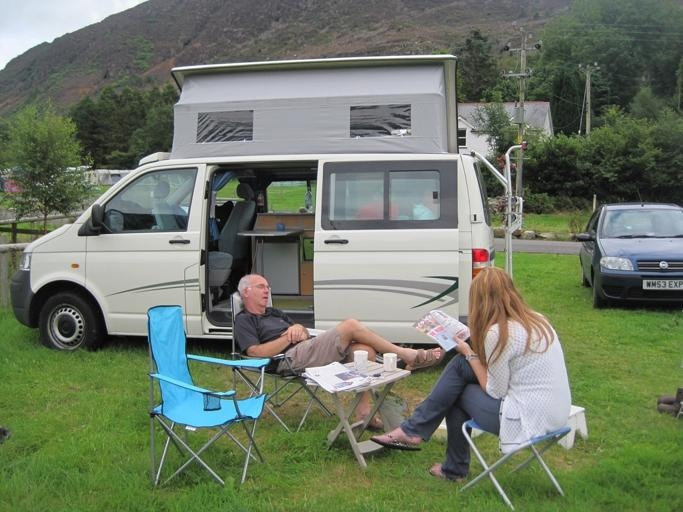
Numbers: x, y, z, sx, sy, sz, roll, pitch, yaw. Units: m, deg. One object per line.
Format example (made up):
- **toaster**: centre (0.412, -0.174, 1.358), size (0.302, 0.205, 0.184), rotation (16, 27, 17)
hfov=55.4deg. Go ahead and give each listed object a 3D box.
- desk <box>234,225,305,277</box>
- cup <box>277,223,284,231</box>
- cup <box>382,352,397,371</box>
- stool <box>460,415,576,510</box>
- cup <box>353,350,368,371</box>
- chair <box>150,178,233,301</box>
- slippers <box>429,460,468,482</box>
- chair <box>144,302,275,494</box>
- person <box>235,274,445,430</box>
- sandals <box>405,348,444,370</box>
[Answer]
- **desk**: centre (-1.026, 0.019, 9.216), size (0.487, 0.475, 0.930), rotation (4, 6, 20)
- **cup**: centre (-0.877, -0.414, 9.191), size (0.094, 0.071, 0.095), rotation (1, 2, 0)
- **cup**: centre (0.436, 0.956, 5.901), size (0.112, 0.113, 0.147), rotation (0, -1, -1)
- **stool**: centre (1.409, 1.643, 5.274), size (0.714, 0.492, 0.736), rotation (1, 1, 33)
- **cup**: centre (0.175, 0.967, 6.018), size (0.126, 0.139, 0.160), rotation (0, -2, -1)
- **chair**: centre (-2.038, -0.370, 8.876), size (1.370, 1.600, 1.161), rotation (4, 3, 1)
- **slippers**: centre (0.905, 1.828, 5.498), size (0.295, 0.124, 0.120), rotation (12, 7, 35)
- **chair**: centre (-1.161, 1.207, 5.621), size (0.948, 1.476, 1.064), rotation (0, 4, 6)
- **person**: centre (-0.286, 0.843, 6.490), size (2.430, 1.602, 1.098), rotation (2, -1, 17)
- **sandals**: centre (0.796, 0.957, 6.075), size (0.308, 0.156, 0.206), rotation (-15, 1, -34)
